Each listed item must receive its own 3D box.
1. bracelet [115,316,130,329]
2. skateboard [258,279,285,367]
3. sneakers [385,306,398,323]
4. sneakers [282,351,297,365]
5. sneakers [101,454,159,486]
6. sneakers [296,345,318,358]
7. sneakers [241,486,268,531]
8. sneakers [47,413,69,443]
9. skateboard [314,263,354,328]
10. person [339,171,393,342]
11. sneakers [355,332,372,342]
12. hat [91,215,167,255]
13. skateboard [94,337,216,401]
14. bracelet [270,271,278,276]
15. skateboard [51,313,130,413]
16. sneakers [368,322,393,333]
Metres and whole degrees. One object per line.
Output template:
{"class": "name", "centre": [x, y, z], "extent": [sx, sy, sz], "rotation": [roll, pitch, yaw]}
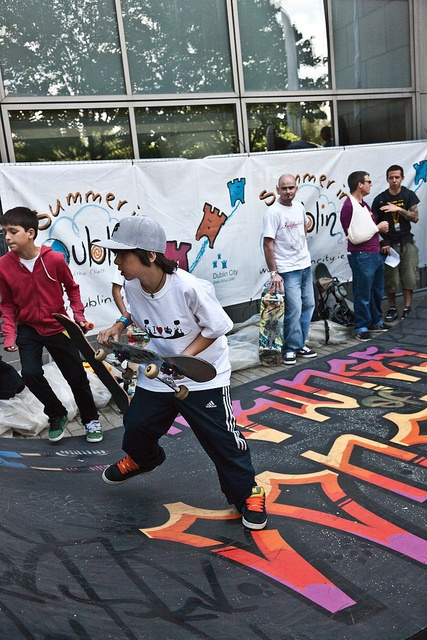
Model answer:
{"class": "bracelet", "centre": [-0.479, 0.007, 2.840], "extent": [0.021, 0.050, 0.059], "rotation": [-40, 47, -17]}
{"class": "skateboard", "centre": [0.632, 0.021, 5.706], "extent": [0.257, 0.893, 0.134], "rotation": [-2, 10, 0]}
{"class": "sneakers", "centre": [2.359, -0.083, 7.122], "extent": [0.118, 0.136, 0.336], "rotation": [4, 9, 27]}
{"class": "sneakers", "centre": [0.826, 0.405, 5.827], "extent": [0.155, 0.168, 0.446], "rotation": [-1, -1, 4]}
{"class": "sneakers", "centre": [-0.523, 0.859, 3.042], "extent": [0.396, 0.124, 0.157], "rotation": [-13, -30, 1]}
{"class": "sneakers", "centre": [1.040, 0.350, 5.981], "extent": [0.096, 0.096, 0.256], "rotation": [-10, 13, -42]}
{"class": "sneakers", "centre": [0.210, 0.952, 2.654], "extent": [0.086, 0.091, 0.245], "rotation": [-1, 1, 0]}
{"class": "sneakers", "centre": [-1.211, 0.838, 4.218], "extent": [0.089, 0.101, 0.254], "rotation": [-9, 12, 1]}
{"class": "skateboard", "centre": [1.496, -0.308, 6.761], "extent": [0.517, 0.767, 0.291], "rotation": [6, 1, 8]}
{"class": "person", "centre": [1.804, -0.775, 6.412], "extent": [0.408, 1.944, 0.527], "rotation": [8, 14, 43]}
{"class": "sneakers", "centre": [1.780, 0.187, 6.373], "extent": [0.078, 0.071, 0.177], "rotation": [-10, 10, -29]}
{"class": "hat", "centre": [-0.352, -0.375, 2.362], "extent": [0.246, 0.123, 0.158], "rotation": [2, 17, -20]}
{"class": "skateboard", "centre": [-0.284, 0.219, 2.467], "extent": [0.713, 0.190, 0.117], "rotation": [0, 50, 56]}
{"class": "bracelet", "centre": [0.629, -0.498, 5.603], "extent": [0.044, 0.054, 0.031], "rotation": [13, 19, -1]}
{"class": "skateboard", "centre": [-0.886, 0.343, 3.775], "extent": [0.147, 0.998, 0.235], "rotation": [-39, -5, -26]}
{"class": "sneakers", "centre": [2.063, 0.083, 6.645], "extent": [0.293, 0.116, 0.103], "rotation": [-6, 20, -7]}
